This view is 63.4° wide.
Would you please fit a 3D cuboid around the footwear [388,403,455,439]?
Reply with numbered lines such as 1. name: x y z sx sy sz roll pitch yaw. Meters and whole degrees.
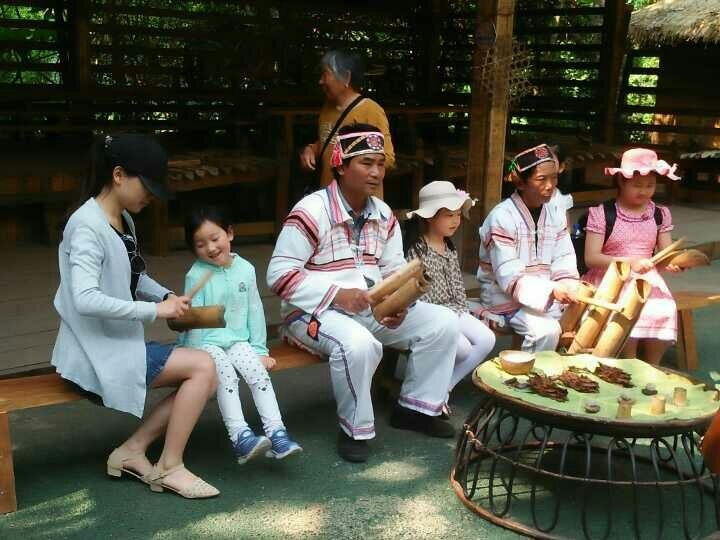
1. footwear: 0.479 0.944 3.680 0.543 0.172 0.181 7 1 10

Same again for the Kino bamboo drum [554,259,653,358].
1. Kino bamboo drum: 1.559 0.284 3.648 0.431 0.671 0.245 30 7 27

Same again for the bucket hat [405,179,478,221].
1. bucket hat: 0.544 -0.526 4.008 0.439 0.183 0.421 -8 21 15

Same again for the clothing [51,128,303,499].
1. clothing: -1.434 0.052 4.168 1.887 2.691 1.429 2 7 -15

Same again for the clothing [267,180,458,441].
1. clothing: -0.006 0.208 3.629 1.302 1.393 1.199 2 13 -24

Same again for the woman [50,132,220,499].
1. woman: -1.126 0.232 2.955 0.817 1.806 0.561 -1 16 8

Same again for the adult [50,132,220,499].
1. adult: -1.126 0.232 2.953 0.818 1.806 0.556 -1 16 8

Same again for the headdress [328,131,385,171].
1. headdress: -0.020 -0.716 3.507 0.231 0.139 0.270 -11 8 -42

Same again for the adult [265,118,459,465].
1. adult: 0.038 0.073 3.623 1.282 1.764 1.213 10 12 22

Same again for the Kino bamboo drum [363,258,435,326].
1. Kino bamboo drum: 0.194 0.117 3.223 0.143 0.412 0.223 24 38 -46
